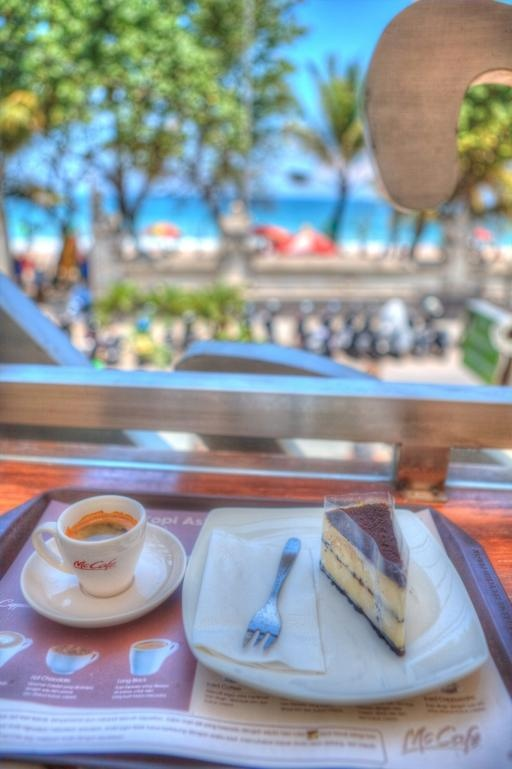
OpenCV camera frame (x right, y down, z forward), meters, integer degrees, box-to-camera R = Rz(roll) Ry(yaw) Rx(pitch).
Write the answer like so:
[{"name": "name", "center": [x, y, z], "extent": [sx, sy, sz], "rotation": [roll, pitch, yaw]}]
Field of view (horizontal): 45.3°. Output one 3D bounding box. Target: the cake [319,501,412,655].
[{"name": "cake", "center": [0.054, 0.104, 0.346], "extent": [0.038, 0.039, 0.069], "rotation": [-1, 16, -6]}]

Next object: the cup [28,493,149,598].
[{"name": "cup", "center": [-0.093, 0.093, 0.368], "extent": [0.072, 0.049, 0.056], "rotation": [5, 21, 9]}]

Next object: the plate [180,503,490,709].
[{"name": "plate", "center": [0.044, 0.112, 0.384], "extent": [0.176, 0.063, 0.180], "rotation": [-3, 15, -4]}]
